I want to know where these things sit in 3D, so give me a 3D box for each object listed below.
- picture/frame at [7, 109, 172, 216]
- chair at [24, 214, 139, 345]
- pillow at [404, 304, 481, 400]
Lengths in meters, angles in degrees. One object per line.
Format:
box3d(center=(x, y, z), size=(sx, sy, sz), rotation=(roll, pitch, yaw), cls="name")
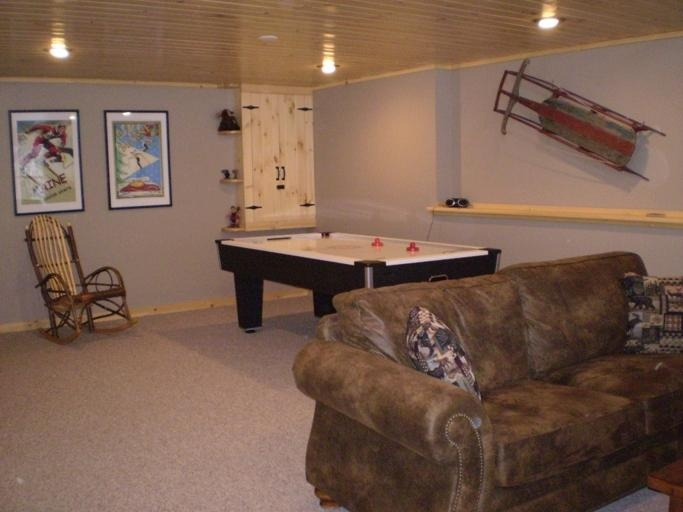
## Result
box3d(center=(-2.988, -1.095, 6.425), size=(1.314, 0.932, 0.029), rotation=(-4, 6, -33), cls="picture/frame")
box3d(center=(-2.878, 0.213, 6.072), size=(0.869, 1.294, 1.153), rotation=(-8, 13, -31), cls="chair")
box3d(center=(0.447, 0.483, 2.693), size=(0.234, 0.383, 0.393), rotation=(-11, 15, -43), cls="pillow")
